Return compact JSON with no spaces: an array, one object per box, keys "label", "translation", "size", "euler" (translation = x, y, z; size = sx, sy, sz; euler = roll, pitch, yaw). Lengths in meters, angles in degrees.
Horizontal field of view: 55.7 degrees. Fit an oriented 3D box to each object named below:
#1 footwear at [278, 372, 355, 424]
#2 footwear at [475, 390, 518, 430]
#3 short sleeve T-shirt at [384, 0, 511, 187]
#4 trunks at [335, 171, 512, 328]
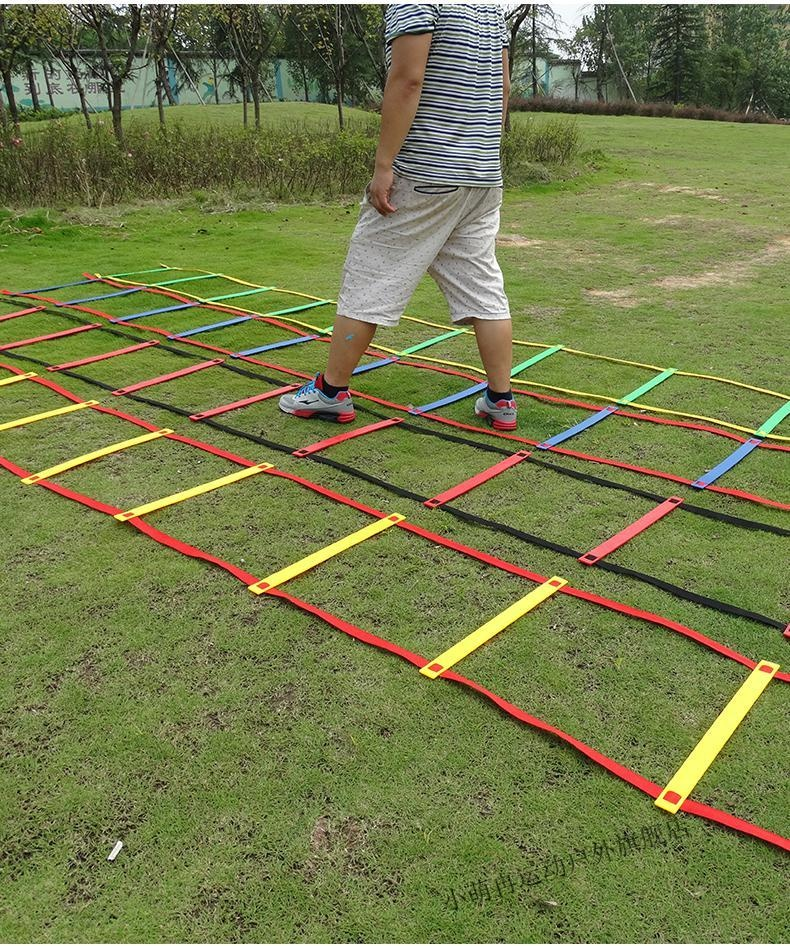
[{"label":"footwear","translation":[-0.311,-0.305,3.156],"size":[0.400,0.192,0.133],"euler":[7,53,18]},{"label":"footwear","translation":[0.416,-0.260,3.133],"size":[0.110,0.096,0.229],"euler":[-8,24,-15]},{"label":"short sleeve T-shirt","translation":[0.226,-1.373,2.718],"size":[0.504,0.633,0.160],"euler":[-18,26,-41]},{"label":"trunks","translation":[0.132,-0.891,2.994],"size":[0.775,0.587,0.396],"euler":[-6,19,-28]}]
